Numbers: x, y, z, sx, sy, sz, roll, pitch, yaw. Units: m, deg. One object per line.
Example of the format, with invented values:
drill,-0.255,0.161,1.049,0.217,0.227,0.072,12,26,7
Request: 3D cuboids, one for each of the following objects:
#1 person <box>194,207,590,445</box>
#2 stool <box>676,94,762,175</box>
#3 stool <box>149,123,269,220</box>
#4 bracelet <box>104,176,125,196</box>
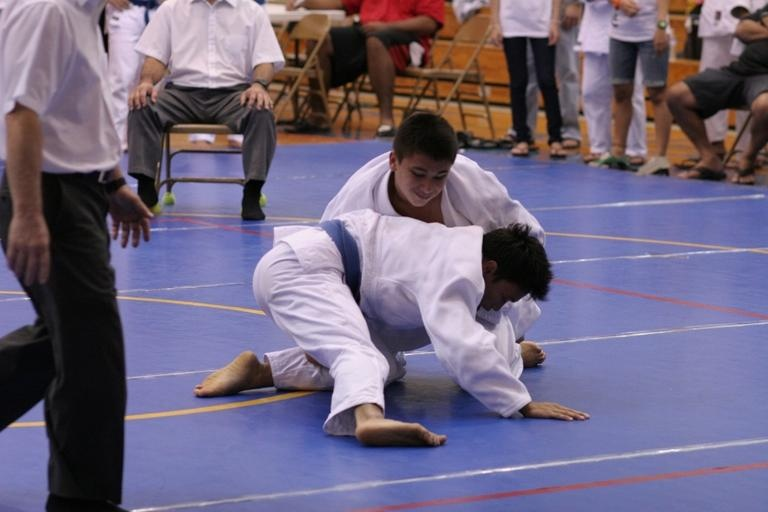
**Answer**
person,0.015,0.242,3.359,1.459,0.758,1.165,2,2,7
stool,3.132,-1.098,7.987,0.774,0.882,0.798,2,3,38
stool,-1.481,-0.753,6.967,1.131,0.818,0.956,0,4,-4
bracelet,-0.896,-0.230,2.857,0.066,0.029,0.049,-16,15,33
